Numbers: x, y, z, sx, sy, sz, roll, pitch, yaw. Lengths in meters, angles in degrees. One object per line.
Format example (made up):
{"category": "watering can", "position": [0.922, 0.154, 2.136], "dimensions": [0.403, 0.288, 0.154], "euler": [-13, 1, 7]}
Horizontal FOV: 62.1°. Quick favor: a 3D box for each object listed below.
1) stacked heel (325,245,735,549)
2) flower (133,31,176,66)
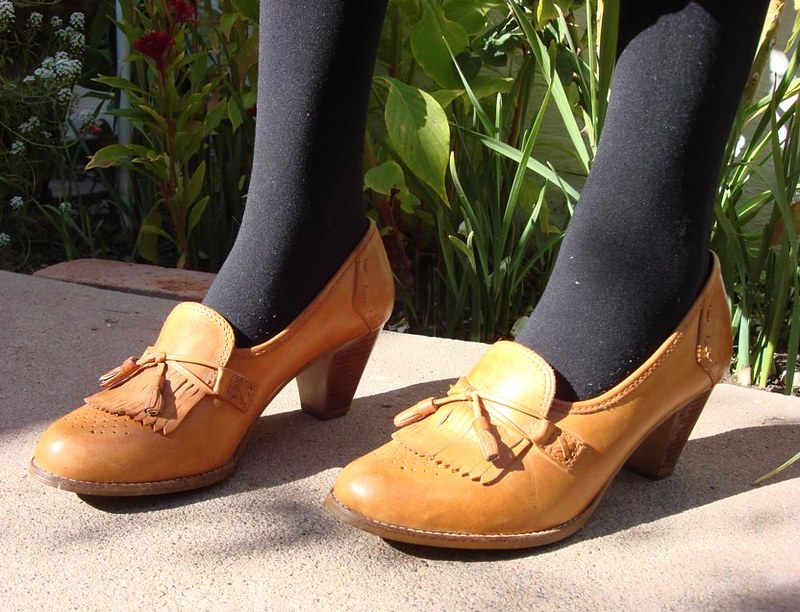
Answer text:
{"category": "stacked heel", "position": [0.216, 0.087, 0.946], "dimensions": [0.653, 0.287, 0.245], "euler": [-9, 18, -23]}
{"category": "flower", "position": [-0.525, -0.558, 1.468], "dimensions": [0.078, 0.047, 0.079], "euler": [-18, 13, 4]}
